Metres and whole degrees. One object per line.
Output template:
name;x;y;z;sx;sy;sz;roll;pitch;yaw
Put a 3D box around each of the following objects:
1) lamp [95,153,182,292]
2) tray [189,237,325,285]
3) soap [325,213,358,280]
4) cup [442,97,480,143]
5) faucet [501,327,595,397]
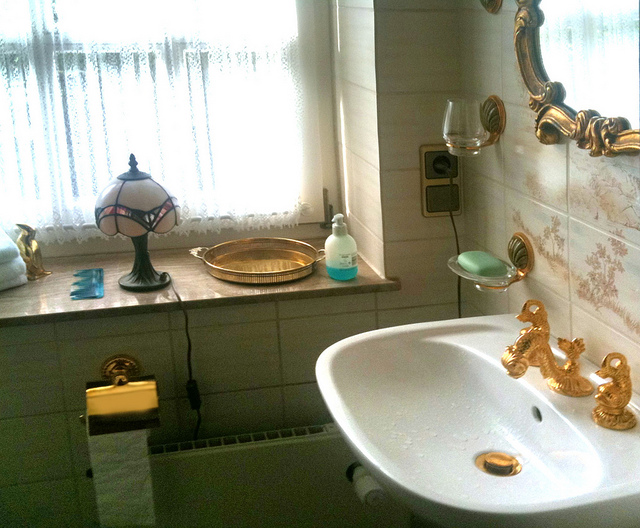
lamp;-0.567;-0.128;1.663;0.240;0.414;0.183;-17;21;-31
tray;-0.203;-0.024;1.849;0.402;0.068;0.390;-13;23;-34
soap;0.058;-0.066;1.708;0.097;0.207;0.142;-5;12;-10
cup;0.332;-0.354;1.304;0.094;0.101;0.098;-1;19;0
faucet;0.452;0.184;1.089;0.179;0.130;0.131;-6;18;2
